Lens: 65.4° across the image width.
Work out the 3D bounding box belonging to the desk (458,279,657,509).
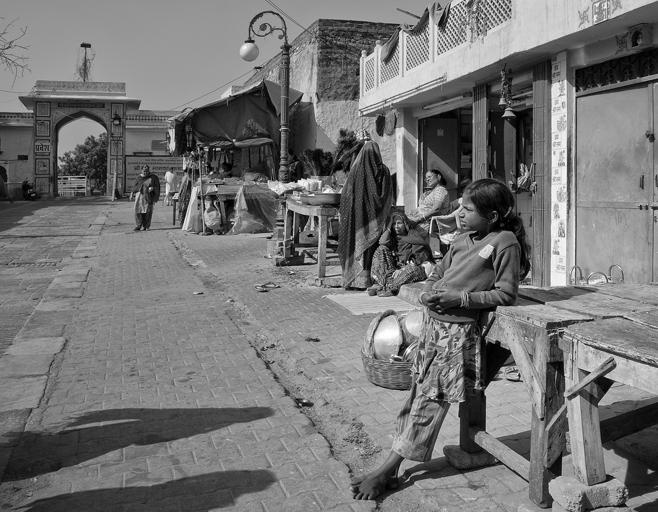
[{"bbox_3d":[1.253,0.567,2.668,1.019,0.707,1.030,-6,10,-24],"label":"desk"}]
